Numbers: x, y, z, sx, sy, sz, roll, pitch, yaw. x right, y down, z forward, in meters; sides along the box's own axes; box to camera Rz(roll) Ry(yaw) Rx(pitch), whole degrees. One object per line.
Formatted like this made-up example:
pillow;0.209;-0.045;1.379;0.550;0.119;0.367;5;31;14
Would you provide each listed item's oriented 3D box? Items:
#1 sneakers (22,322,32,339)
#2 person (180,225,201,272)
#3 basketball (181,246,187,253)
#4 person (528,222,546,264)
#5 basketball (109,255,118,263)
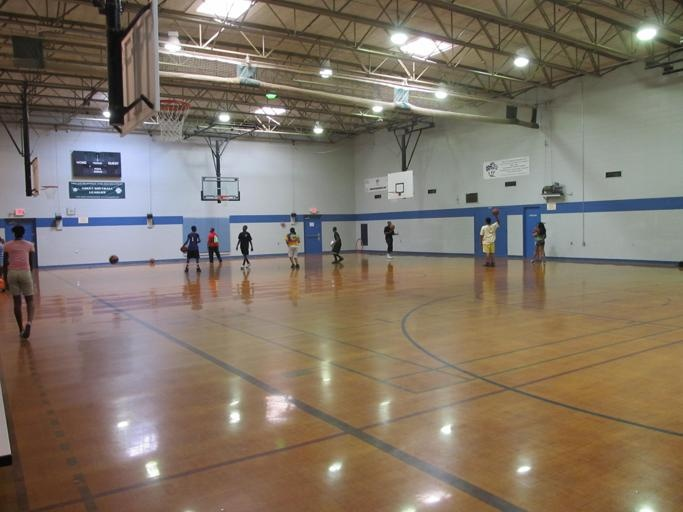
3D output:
sneakers;-4.419;1.047;6.948;0.093;0.269;0.106;11;10;-11
person;-4.917;-0.139;16.215;0.610;1.692;0.502;-1;-29;-13
basketball;-5.206;-0.222;16.401;0.217;0.262;0.169;2;1;39
person;7.090;-0.489;17.796;0.367;1.422;1.182;1;6;21
basketball;-9.766;0.141;21.223;0.259;0.219;0.284;0;-11;0
